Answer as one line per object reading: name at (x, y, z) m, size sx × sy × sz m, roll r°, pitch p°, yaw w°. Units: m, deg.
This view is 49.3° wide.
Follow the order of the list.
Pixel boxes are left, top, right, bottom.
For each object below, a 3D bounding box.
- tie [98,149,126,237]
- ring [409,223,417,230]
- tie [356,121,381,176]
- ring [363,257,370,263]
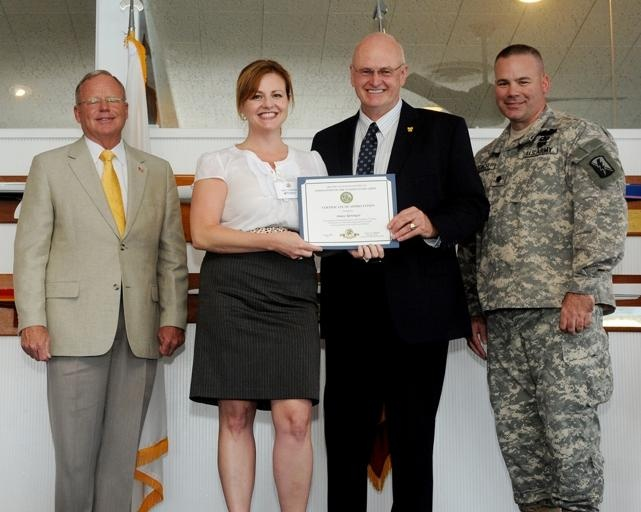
tie at (-0.855, -0.262, 2.864) m, size 0.085 × 0.437 × 0.067 m, roll -1°, pitch -36°, yaw -17°
ring at (0.343, -0.111, 2.566) m, size 0.025 × 0.026 × 0.006 m, roll 1°, pitch 9°, yaw 5°
tie at (0.198, -0.426, 2.791) m, size 0.078 × 0.019 × 0.334 m, roll -11°, pitch -24°, yaw -10°
ring at (0.178, 0.014, 2.648) m, size 0.014 × 0.012 × 0.019 m, roll -1°, pitch -32°, yaw -4°
